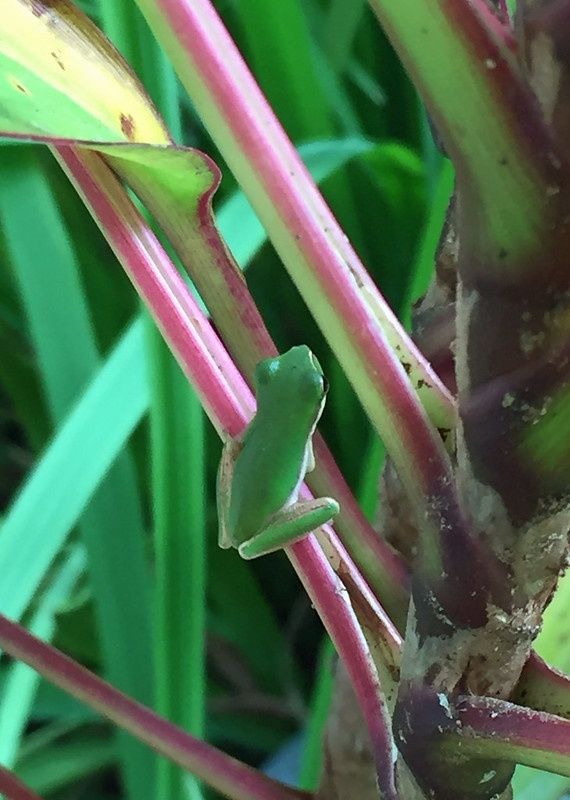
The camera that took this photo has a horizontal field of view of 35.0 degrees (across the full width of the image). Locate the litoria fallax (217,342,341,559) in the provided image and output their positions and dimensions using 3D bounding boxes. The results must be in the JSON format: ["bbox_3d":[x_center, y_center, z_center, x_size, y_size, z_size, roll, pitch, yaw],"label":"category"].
[{"bbox_3d":[0.000,0.015,0.262,0.021,0.046,0.055,12,-87,-65],"label":"litoria fallax"}]
